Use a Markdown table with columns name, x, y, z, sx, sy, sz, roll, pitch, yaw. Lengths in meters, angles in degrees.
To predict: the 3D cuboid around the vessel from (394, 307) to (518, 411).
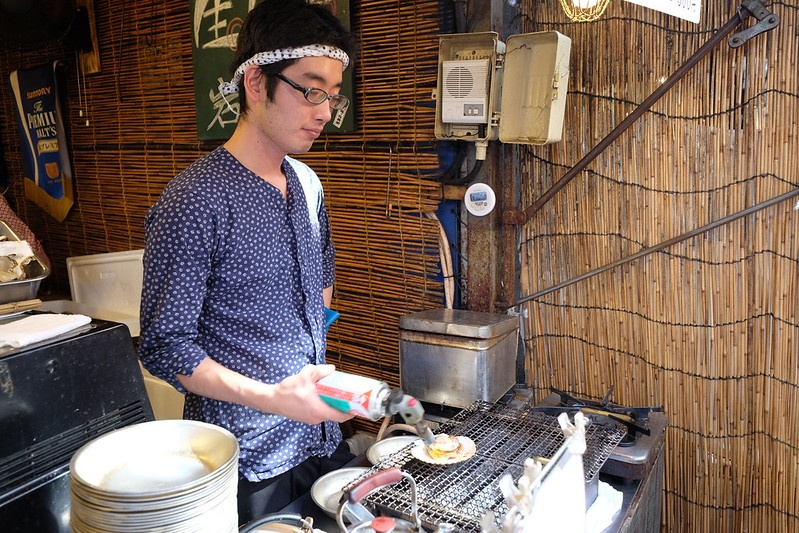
| name | x | y | z | sx | sy | sz | roll | pitch | yaw |
| --- | --- | --- | --- | --- | --- | --- | --- | --- | --- |
| vessel | 0.372 | 0.480 | 3.623 | 0.582 | 0.453 | 0.583 | 1 | 1 | 31 |

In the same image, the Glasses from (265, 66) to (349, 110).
| name | x | y | z | sx | sy | sz | roll | pitch | yaw |
| --- | --- | --- | --- | --- | --- | --- | --- | --- | --- |
| Glasses | -0.483 | -0.816 | 2.763 | 0.280 | 0.077 | 0.288 | 21 | 3 | 33 |

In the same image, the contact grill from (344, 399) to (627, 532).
| name | x | y | z | sx | sy | sz | roll | pitch | yaw |
| --- | --- | --- | --- | --- | --- | --- | --- | --- | --- |
| contact grill | 0.381 | 0.885 | 2.725 | 0.585 | 0.208 | 0.878 | 8 | 22 | 38 |

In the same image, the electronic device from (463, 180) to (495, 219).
| name | x | y | z | sx | sy | sz | roll | pitch | yaw |
| --- | --- | --- | --- | --- | --- | --- | --- | --- | --- |
| electronic device | 0.483 | -0.403 | 3.720 | 0.192 | 0.196 | 0.045 | 3 | 10 | 25 |

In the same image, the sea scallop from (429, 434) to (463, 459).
| name | x | y | z | sx | sy | sz | roll | pitch | yaw |
| --- | --- | --- | --- | --- | --- | --- | --- | --- | --- |
| sea scallop | 0.205 | 0.815 | 2.756 | 0.176 | 0.059 | 0.177 | -9 | 2 | -6 |

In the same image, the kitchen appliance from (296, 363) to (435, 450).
| name | x | y | z | sx | sy | sz | roll | pitch | yaw |
| --- | --- | --- | --- | --- | --- | --- | --- | --- | --- |
| kitchen appliance | -0.116 | 0.502 | 2.275 | 0.437 | 0.142 | 0.100 | 9 | 12 | 26 |

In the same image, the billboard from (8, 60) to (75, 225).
| name | x | y | z | sx | sy | sz | roll | pitch | yaw |
| --- | --- | --- | --- | --- | --- | --- | --- | --- | --- |
| billboard | -3.455 | -1.205 | 5.867 | 0.714 | 1.502 | 0.245 | 11 | 13 | 35 |

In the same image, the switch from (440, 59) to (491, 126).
| name | x | y | z | sx | sy | sz | roll | pitch | yaw |
| --- | --- | --- | --- | --- | --- | --- | --- | --- | --- |
| switch | 0.405 | -1.052 | 3.578 | 0.333 | 0.403 | 0.213 | 5 | 15 | 18 |

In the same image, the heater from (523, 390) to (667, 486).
| name | x | y | z | sx | sy | sz | roll | pitch | yaw |
| --- | --- | --- | --- | --- | --- | --- | --- | --- | --- |
| heater | 1.043 | 0.841 | 3.079 | 0.434 | 0.208 | 0.444 | 1 | 8 | 27 |
